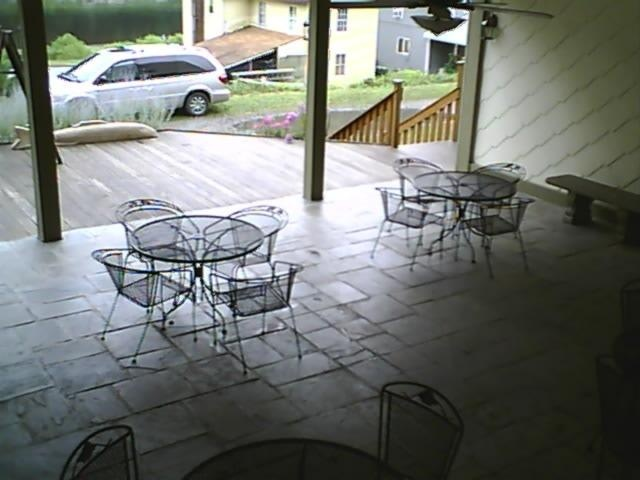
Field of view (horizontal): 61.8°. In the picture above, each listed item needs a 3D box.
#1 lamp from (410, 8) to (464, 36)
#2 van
[{"bbox_3d":[1.072,-1.929,4.721,0.378,0.219,0.462,-8,25,-21],"label":"lamp"},{"bbox_3d":[-4.034,-3.437,11.637,3.863,1.161,1.518,-8,42,-22],"label":"van"}]
